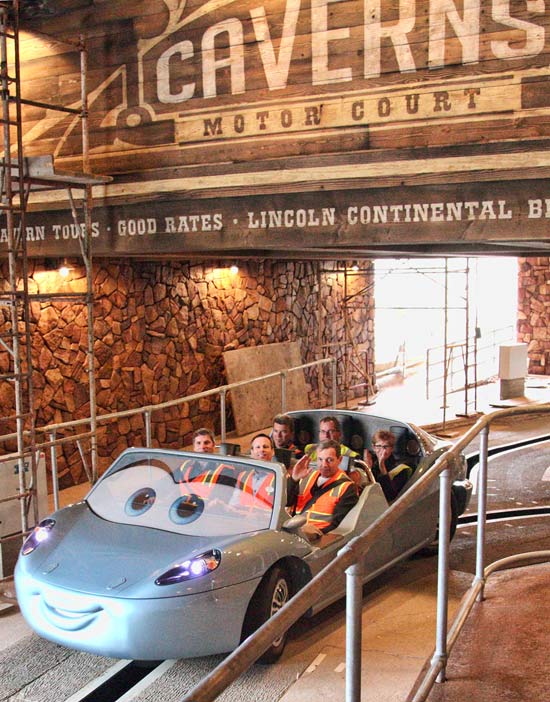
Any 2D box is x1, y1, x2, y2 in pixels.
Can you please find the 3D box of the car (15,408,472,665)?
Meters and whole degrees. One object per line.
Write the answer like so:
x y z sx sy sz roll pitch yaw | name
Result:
0.031 1.210 4.688 1.591 0.870 3.159 3 5 37 | car

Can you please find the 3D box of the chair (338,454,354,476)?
0.611 0.978 5.536 0.124 0.199 0.109 0 -39 5 | chair
